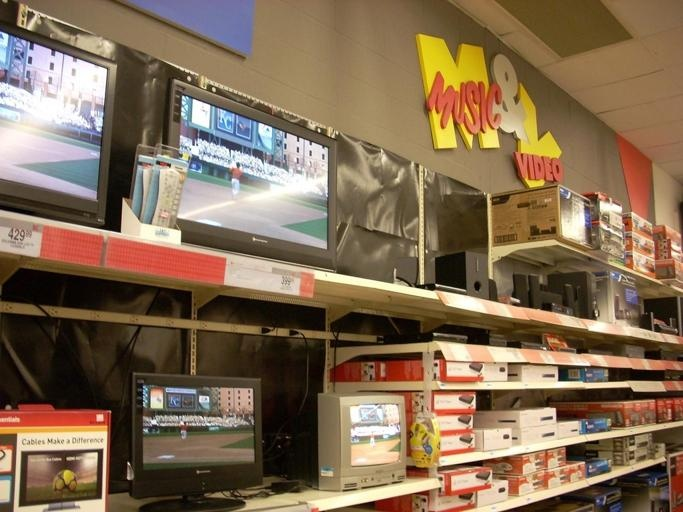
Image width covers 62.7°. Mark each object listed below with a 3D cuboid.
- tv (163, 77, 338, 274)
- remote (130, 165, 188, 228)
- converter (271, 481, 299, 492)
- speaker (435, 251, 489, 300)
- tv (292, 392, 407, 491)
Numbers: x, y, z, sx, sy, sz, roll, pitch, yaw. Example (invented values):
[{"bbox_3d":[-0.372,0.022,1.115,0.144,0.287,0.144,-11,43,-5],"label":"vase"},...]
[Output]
[{"bbox_3d":[-0.400,-0.324,2.406,0.084,0.722,0.874,-16,-22,41],"label":"tv"},{"bbox_3d":[-0.649,-0.215,1.985,0.188,0.283,0.046,11,-12,-30],"label":"remote"},{"bbox_3d":[-0.236,0.980,2.378,0.120,0.043,0.034,4,-14,-18],"label":"converter"},{"bbox_3d":[0.681,0.119,3.186,0.247,0.305,0.129,-1,1,7],"label":"speaker"},{"bbox_3d":[0.028,0.788,2.594,0.421,0.400,0.420,3,-6,-39],"label":"tv"}]
